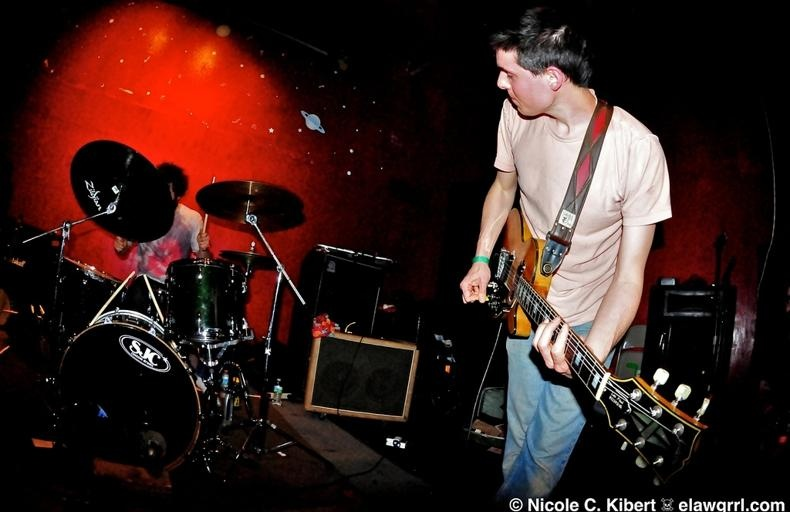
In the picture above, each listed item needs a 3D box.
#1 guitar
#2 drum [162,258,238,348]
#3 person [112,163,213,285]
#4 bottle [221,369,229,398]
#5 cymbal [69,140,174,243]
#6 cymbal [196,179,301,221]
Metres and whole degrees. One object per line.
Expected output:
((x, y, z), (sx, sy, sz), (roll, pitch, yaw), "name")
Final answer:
((1.188, 0.532, 3.889), (0.322, 0.874, 2.237), (3, 25, -30), "guitar")
((-1.615, 0.437, 4.894), (0.674, 0.617, 0.651), (12, -20, -36), "drum")
((-2.567, -0.265, 6.241), (0.972, 1.277, 0.880), (15, 28, -17), "person")
((-1.514, 1.122, 5.036), (0.070, 0.181, 0.254), (2, 3, -17), "bottle")
((-2.455, -0.615, 5.231), (0.910, 0.884, 0.213), (-1, 36, 9), "cymbal")
((-1.377, -0.540, 5.320), (0.580, 0.137, 0.589), (-24, -40, 35), "cymbal")
